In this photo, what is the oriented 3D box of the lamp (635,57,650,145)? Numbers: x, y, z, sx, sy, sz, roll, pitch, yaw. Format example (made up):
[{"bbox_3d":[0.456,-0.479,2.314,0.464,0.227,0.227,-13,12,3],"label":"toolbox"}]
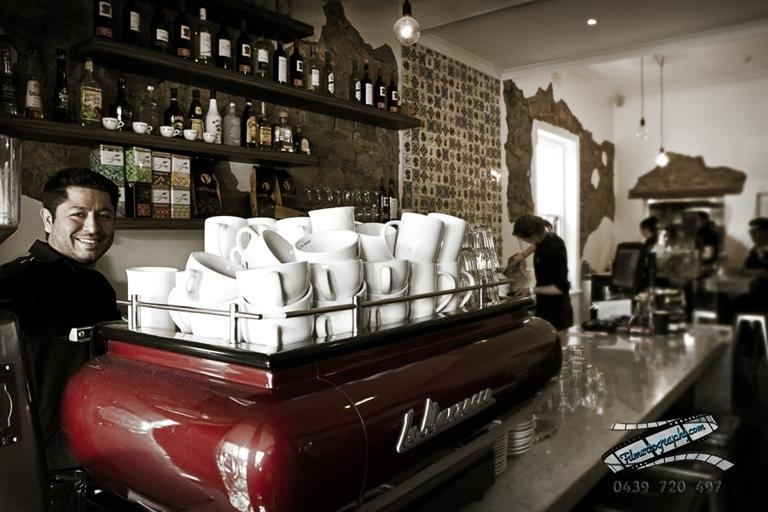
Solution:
[{"bbox_3d":[2.383,-1.455,5.253,0.097,0.765,0.267,4,4,21],"label":"lamp"}]

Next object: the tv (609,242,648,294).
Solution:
[{"bbox_3d":[1.446,0.077,3.403,0.086,0.317,0.244,1,4,-10],"label":"tv"}]

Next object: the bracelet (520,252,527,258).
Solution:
[{"bbox_3d":[1.338,-0.007,5.498,0.058,0.041,0.045,0,28,33],"label":"bracelet"}]

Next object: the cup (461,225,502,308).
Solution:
[{"bbox_3d":[0.314,0.025,1.773,0.141,0.234,0.241,-2,5,-19],"label":"cup"}]

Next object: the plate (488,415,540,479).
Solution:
[{"bbox_3d":[0.403,0.579,1.775,0.160,0.099,0.245,-3,-1,5],"label":"plate"}]

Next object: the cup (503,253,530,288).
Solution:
[{"bbox_3d":[1.102,0.118,4.775,0.241,0.316,0.325,-2,10,1],"label":"cup"}]

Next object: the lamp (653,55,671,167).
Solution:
[{"bbox_3d":[2.483,-1.312,5.129,0.093,1.026,0.217,2,4,1],"label":"lamp"}]
